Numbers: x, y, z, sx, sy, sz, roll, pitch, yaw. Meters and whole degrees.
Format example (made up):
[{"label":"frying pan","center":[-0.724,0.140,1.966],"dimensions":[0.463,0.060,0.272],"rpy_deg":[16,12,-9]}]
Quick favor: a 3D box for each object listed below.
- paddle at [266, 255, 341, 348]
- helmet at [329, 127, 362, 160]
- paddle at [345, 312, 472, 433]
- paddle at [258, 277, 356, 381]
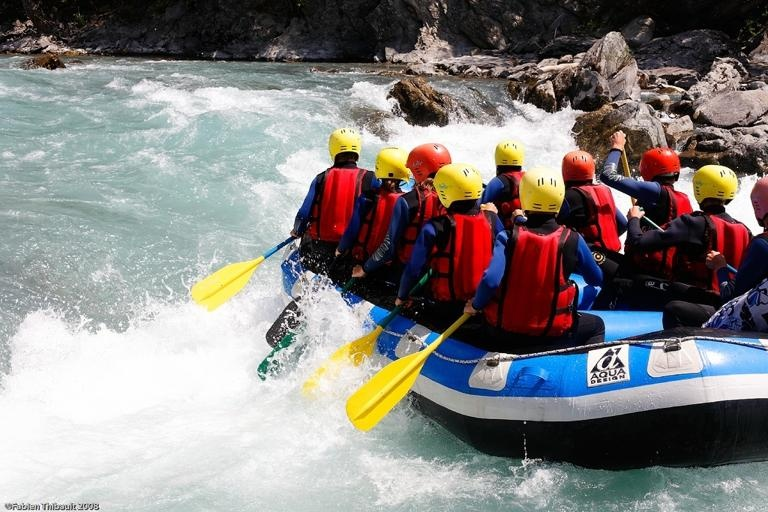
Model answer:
[{"label":"paddle","center":[-0.905,0.559,7.889],"dimensions":[0.284,0.118,1.242],"rpy_deg":[25,65,29]},{"label":"helmet","center":[-0.425,-1.336,8.098],"dimensions":[0.350,0.381,0.438],"rpy_deg":[2,12,-10]},{"label":"paddle","center":[0.302,1.243,6.985],"dimensions":[1.876,0.096,0.381],"rpy_deg":[-38,77,-3]},{"label":"paddle","center":[-0.832,0.866,7.664],"dimensions":[1.493,0.146,0.299],"rpy_deg":[-42,72,-15]}]
